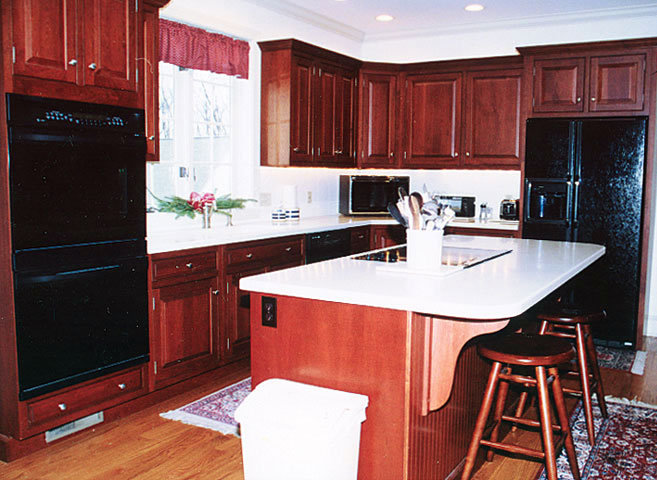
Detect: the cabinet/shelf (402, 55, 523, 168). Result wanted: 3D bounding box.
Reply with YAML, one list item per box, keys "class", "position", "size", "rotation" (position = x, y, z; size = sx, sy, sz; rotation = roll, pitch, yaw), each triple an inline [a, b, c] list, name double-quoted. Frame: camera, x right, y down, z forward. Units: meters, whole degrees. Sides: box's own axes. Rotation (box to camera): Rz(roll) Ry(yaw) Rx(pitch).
- class: "cabinet/shelf"
  position: [1.474, -1.388, 5.091]
  size: [1.300, 1.097, 0.467]
  rotation: [3, 6, 27]

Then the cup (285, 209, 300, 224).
- class: "cup"
  position: [-0.334, -0.242, 4.545]
  size: [0.152, 0.133, 0.100]
  rotation: [-5, 10, -31]

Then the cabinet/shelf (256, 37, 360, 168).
- class: "cabinet/shelf"
  position: [-0.254, -1.379, 4.765]
  size: [0.516, 1.358, 1.494]
  rotation: [2, 2, 37]

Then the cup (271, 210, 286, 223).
- class: "cup"
  position: [-0.472, -0.236, 4.512]
  size: [0.128, 0.121, 0.127]
  rotation: [0, 4, 0]

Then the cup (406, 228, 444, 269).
- class: "cup"
  position: [0.448, 0.037, 2.325]
  size: [0.183, 0.189, 0.181]
  rotation: [0, 4, 0]

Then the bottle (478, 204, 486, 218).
- class: "bottle"
  position: [1.720, -0.333, 5.289]
  size: [0.081, 0.156, 0.182]
  rotation: [3, 9, 18]

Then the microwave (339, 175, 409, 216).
- class: "microwave"
  position: [0.513, -0.521, 5.376]
  size: [0.912, 0.573, 0.567]
  rotation: [0, 3, -14]
